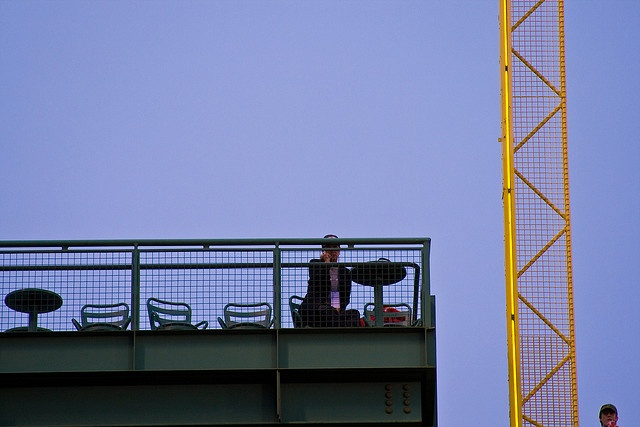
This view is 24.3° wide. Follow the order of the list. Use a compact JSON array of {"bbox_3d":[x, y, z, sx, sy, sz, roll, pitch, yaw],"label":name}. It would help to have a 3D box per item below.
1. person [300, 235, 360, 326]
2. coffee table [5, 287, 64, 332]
[{"bbox_3d":[0.150,1.108,24.430,0.977,1.538,0.680,-2,-27,1],"label":"person"},{"bbox_3d":[-4.627,1.639,24.348,0.949,0.652,0.607,-1,-27,0],"label":"coffee table"}]
